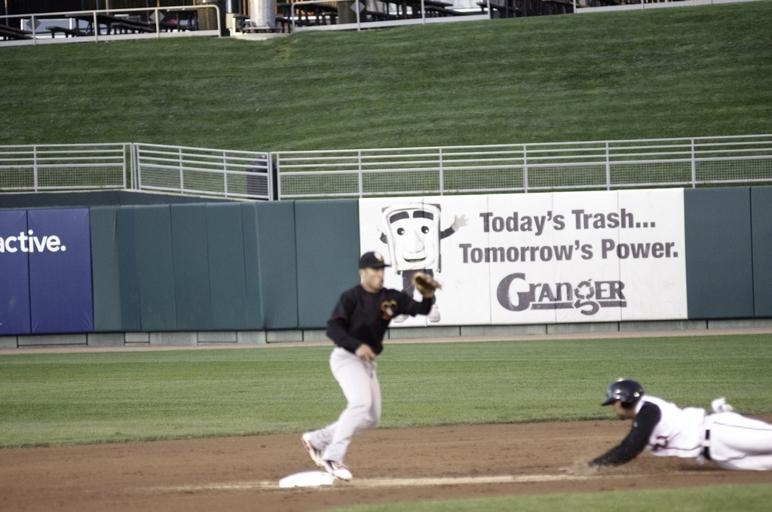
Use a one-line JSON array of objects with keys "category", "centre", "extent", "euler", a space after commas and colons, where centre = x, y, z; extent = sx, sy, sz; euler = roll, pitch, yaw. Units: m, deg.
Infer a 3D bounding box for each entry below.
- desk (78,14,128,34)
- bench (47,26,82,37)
[{"category": "desk", "centre": [-12.727, -10.223, 76.773], "extent": [1.050, 0.364, 1.572], "euler": [0, 0, 14]}, {"category": "bench", "centre": [-14.177, -9.866, 76.752], "extent": [1.399, 0.433, 0.537], "euler": [-2, 1, -9]}]
